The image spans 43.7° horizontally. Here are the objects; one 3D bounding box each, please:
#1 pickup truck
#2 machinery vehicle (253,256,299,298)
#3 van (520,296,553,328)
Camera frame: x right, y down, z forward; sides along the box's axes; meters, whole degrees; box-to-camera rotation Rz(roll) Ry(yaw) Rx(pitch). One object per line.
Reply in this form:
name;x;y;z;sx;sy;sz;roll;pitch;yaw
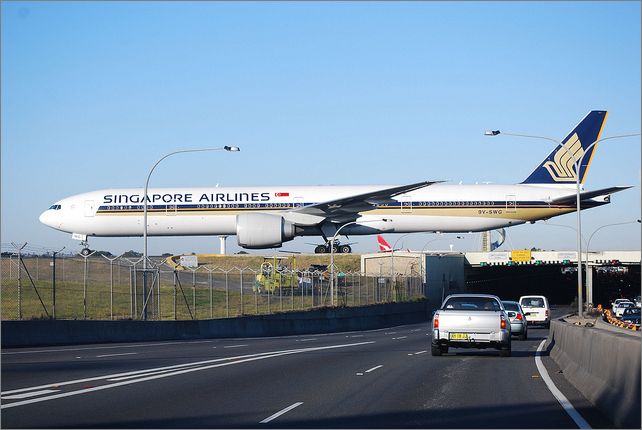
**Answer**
pickup truck;5.116;3.660;26.671;2.070;1.653;4.991;-1;-4;17
machinery vehicle;-3.540;5.088;64.517;3.975;3.956;2.677;1;-4;1
van;12.362;5.602;46.101;2.001;1.566;3.274;-1;4;14
